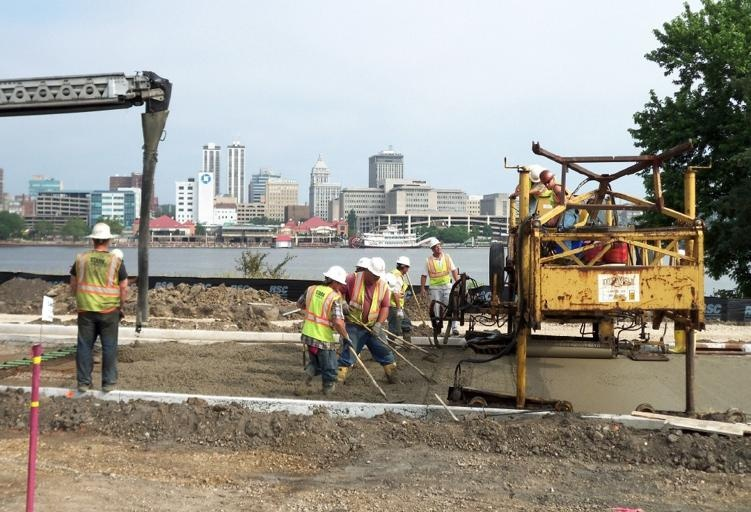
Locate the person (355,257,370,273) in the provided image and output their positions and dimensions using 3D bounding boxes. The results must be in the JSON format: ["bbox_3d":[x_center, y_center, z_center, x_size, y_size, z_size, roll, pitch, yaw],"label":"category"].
[{"bbox_3d":[-0.299,0.174,26.681,0.623,0.326,0.751,2,-4,-2],"label":"person"}]

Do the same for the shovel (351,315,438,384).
[{"bbox_3d":[0.354,1.888,22.582,0.109,0.346,1.953,-35,-58,25],"label":"shovel"}]

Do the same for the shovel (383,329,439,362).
[{"bbox_3d":[0.633,1.804,23.658,0.247,0.447,1.952,-9,1,-11],"label":"shovel"}]

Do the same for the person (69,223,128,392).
[{"bbox_3d":[-5.037,0.929,20.510,0.968,3.160,0.527,1,0,-16],"label":"person"}]

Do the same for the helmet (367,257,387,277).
[{"bbox_3d":[0.020,0.135,21.369,0.301,0.195,0.354,8,29,-39],"label":"helmet"}]

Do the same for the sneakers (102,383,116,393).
[{"bbox_3d":[-4.829,2.352,20.361,0.163,0.154,0.354,0,1,-12],"label":"sneakers"}]

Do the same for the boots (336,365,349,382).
[{"bbox_3d":[-0.622,2.242,21.586,0.223,0.218,0.263,2,-7,-14],"label":"boots"}]

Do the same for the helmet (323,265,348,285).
[{"bbox_3d":[-0.708,0.390,20.910,0.367,0.178,0.318,26,10,-18],"label":"helmet"}]

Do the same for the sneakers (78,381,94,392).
[{"bbox_3d":[-5.279,2.346,20.459,0.271,0.190,0.301,1,0,-15],"label":"sneakers"}]

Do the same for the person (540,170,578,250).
[{"bbox_3d":[3.516,-0.898,21.837,0.547,1.674,0.674,-16,25,-29],"label":"person"}]

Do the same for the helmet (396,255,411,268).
[{"bbox_3d":[0.611,0.078,24.543,0.274,0.145,0.207,-5,-6,45],"label":"helmet"}]
